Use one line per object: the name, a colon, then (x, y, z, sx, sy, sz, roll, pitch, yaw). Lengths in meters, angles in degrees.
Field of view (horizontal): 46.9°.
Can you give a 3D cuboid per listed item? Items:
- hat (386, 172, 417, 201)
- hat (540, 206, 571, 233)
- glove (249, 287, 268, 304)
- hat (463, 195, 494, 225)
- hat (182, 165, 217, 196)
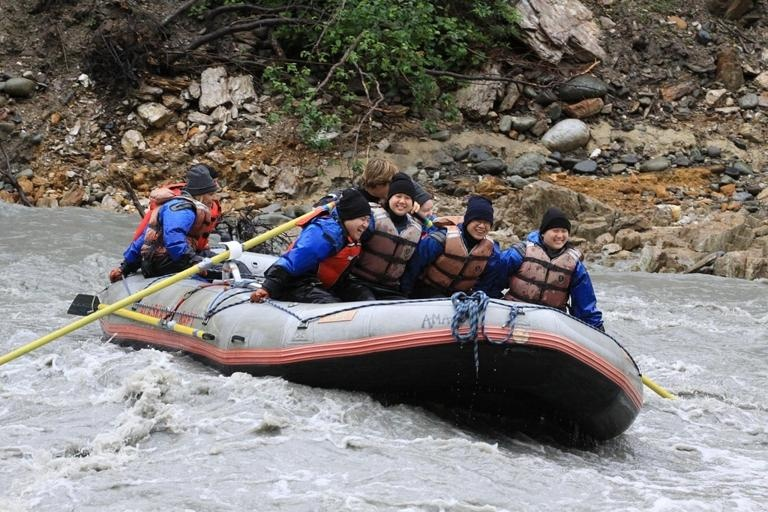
hat: (0.222, -0.779, 10.236, 0.290, 0.241, 0.361, 7, -23, -6)
hat: (1.914, -0.411, 10.172, 0.351, 0.263, 0.325, 6, -1, -26)
glove: (-1.416, 0.457, 10.052, 0.086, 0.189, 0.093, 53, -15, 22)
hat: (1.085, -0.532, 10.110, 0.335, 0.299, 0.344, 5, 4, -15)
hat: (-2.357, -0.967, 11.232, 0.478, 0.307, 0.307, -5, 26, -31)
